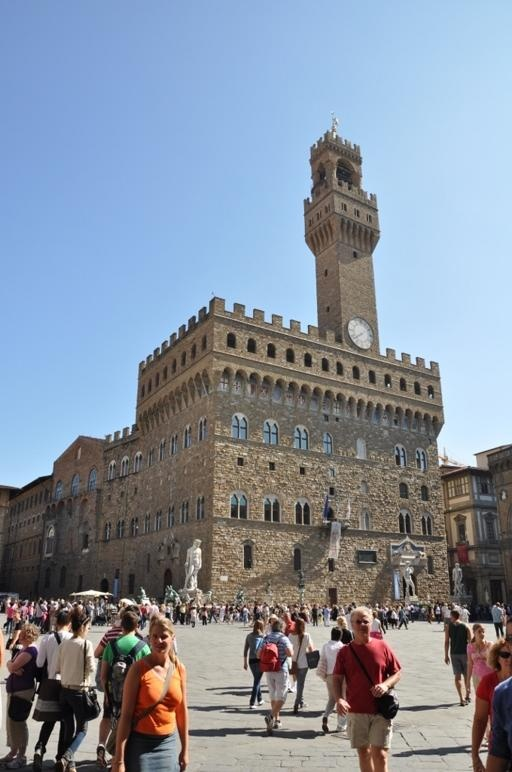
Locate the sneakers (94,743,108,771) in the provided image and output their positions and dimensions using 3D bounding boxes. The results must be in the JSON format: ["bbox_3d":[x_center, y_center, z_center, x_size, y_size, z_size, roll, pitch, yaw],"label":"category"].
[{"bbox_3d":[-1.385,3.372,4.929,0.104,0.184,0.350,5,-20,-13],"label":"sneakers"}]

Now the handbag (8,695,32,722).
[{"bbox_3d":[-2.201,3.026,5.049,0.205,0.236,0.142,9,-20,-23],"label":"handbag"}]

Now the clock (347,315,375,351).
[{"bbox_3d":[7.671,-3.868,40.194,2.241,2.453,0.152,16,-30,-38],"label":"clock"}]

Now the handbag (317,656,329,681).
[{"bbox_3d":[0.859,3.695,7.059,0.127,0.304,0.289,-2,-19,6],"label":"handbag"}]

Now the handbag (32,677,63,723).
[{"bbox_3d":[-1.864,2.882,4.915,0.357,0.391,0.194,-10,-21,27],"label":"handbag"}]

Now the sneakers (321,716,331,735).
[{"bbox_3d":[0.837,4.145,6.581,0.058,0.196,0.079,-3,-7,4],"label":"sneakers"}]

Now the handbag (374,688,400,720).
[{"bbox_3d":[0.894,2.164,3.631,0.181,0.193,0.122,10,-21,-27],"label":"handbag"}]

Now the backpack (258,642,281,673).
[{"bbox_3d":[0.180,3.585,7.111,0.293,0.342,0.257,-5,-20,16],"label":"backpack"}]

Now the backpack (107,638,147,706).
[{"bbox_3d":[-1.074,2.396,4.432,0.366,0.590,0.642,5,-20,-14],"label":"backpack"}]

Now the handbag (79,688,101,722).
[{"bbox_3d":[-1.488,2.896,4.884,0.148,0.312,0.422,4,-20,-11],"label":"handbag"}]
